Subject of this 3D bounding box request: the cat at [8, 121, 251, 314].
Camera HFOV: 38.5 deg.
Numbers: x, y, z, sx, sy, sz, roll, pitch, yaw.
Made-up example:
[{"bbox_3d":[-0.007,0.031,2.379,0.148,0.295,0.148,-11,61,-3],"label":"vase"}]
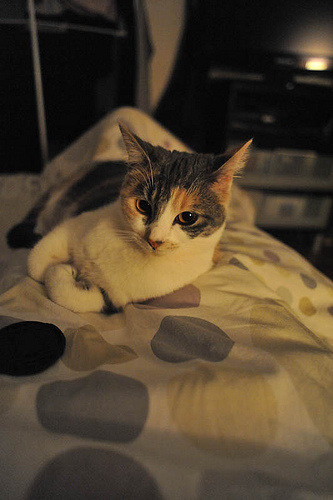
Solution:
[{"bbox_3d":[-0.133,-0.066,1.079,0.419,0.316,0.457,7,27,-21],"label":"cat"}]
